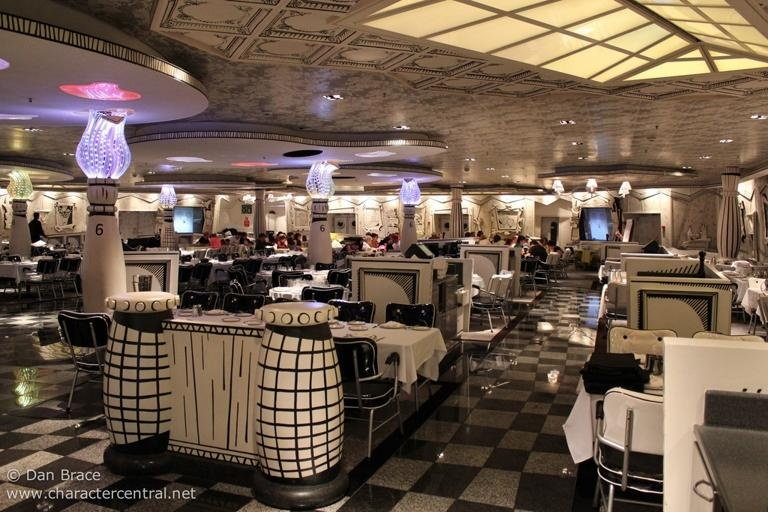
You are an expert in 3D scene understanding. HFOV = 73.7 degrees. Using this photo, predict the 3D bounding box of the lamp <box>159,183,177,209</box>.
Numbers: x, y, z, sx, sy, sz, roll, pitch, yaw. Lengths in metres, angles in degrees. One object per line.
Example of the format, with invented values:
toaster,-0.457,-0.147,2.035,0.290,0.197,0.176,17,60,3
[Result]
lamp,-8.434,-2.381,20.097,0.516,0.776,0.743,-2,10,-12

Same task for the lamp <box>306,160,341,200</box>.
lamp,-1.655,-2.173,13.850,0.895,1.007,0.886,-14,-4,-30

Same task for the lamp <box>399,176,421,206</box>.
lamp,0.958,-2.378,19.036,0.668,0.990,0.744,1,10,1

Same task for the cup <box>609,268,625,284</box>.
cup,4.071,0.364,8.956,0.333,0.260,0.302,1,-6,-11

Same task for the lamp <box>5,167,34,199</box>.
lamp,-11.634,-2.275,16.452,0.592,0.928,1.051,-6,11,-34

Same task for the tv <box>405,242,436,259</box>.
tv,0.543,-0.070,7.893,0.333,0.143,0.310,-1,0,20
